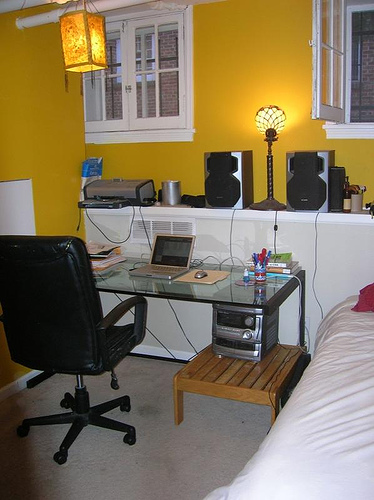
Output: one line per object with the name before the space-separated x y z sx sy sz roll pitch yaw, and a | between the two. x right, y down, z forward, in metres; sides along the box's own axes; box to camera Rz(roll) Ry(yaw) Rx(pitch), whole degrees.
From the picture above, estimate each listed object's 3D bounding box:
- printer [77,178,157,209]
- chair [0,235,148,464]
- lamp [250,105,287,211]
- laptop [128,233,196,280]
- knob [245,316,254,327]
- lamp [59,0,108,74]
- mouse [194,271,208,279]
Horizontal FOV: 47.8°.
printer | -0.498 -0.399 3.010 0.560 0.216 0.352 -1 6 -4
chair | -0.507 0.438 1.975 0.651 1.048 0.633 -4 7 -22
lamp | 0.494 -0.552 2.600 0.218 0.624 0.111 1 7 15
laptop | -0.148 0.029 2.485 0.328 0.206 0.341 7 14 38
knob | 0.314 0.356 2.120 0.051 0.055 0.028 1 14 29
lamp | -0.450 -0.896 1.807 0.158 0.249 0.138 2 7 22
mouse | 0.072 0.137 2.314 0.067 0.025 0.104 0 6 12
